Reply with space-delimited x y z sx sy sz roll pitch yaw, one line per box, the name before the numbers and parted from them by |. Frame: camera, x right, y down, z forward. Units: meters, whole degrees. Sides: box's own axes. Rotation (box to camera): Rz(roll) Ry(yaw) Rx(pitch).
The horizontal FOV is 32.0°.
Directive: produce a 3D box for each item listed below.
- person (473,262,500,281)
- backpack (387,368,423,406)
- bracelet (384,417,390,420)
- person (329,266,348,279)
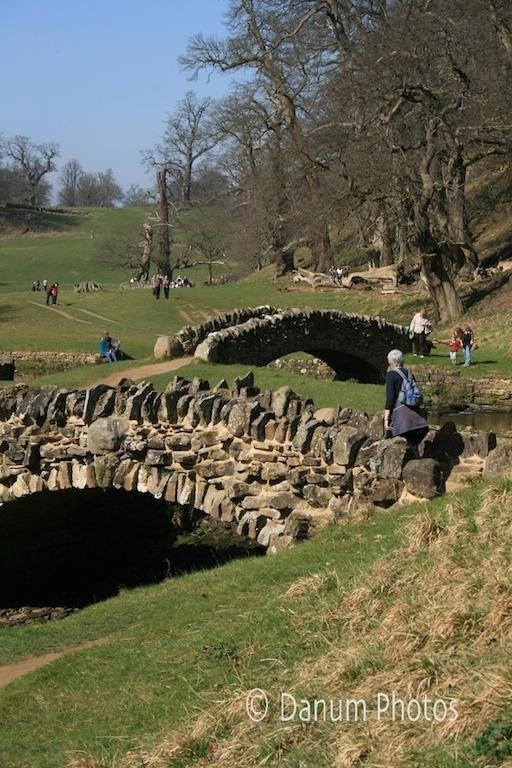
person | 9.232 -4.520 35.821 0.629 0.367 0.859 -1 40 17
backpack | 1.377 0.038 8.082 0.241 0.314 0.309 -6 12 -36
bracelet | 1.214 0.318 8.298 0.051 0.029 0.014 1 0 28
person | 4.158 -5.783 46.053 1.020 0.429 1.199 2 6 16
